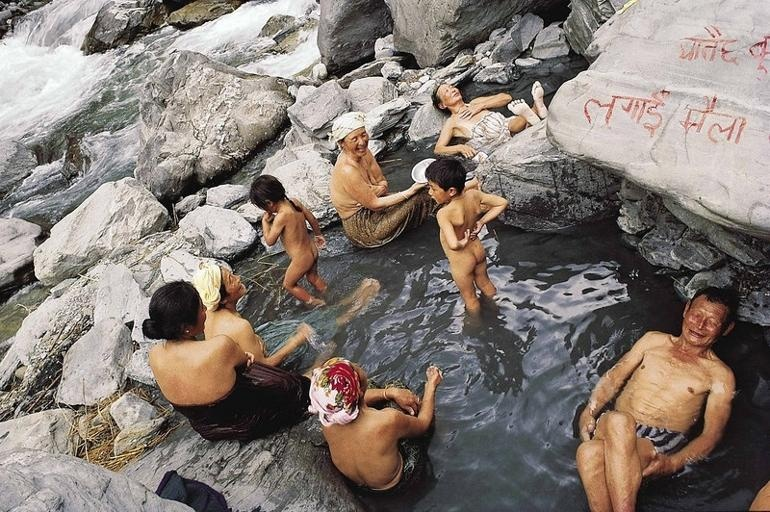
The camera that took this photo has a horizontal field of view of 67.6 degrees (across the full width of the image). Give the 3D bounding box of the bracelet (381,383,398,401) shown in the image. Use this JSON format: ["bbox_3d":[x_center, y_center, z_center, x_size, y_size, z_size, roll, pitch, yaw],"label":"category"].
[{"bbox_3d":[0.049,1.553,6.521,0.153,0.043,0.147,26,99,58],"label":"bracelet"}]

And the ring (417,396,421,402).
[{"bbox_3d":[0.378,1.664,6.637,0.016,0.068,0.064,-30,78,34],"label":"ring"}]

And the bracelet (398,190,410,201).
[{"bbox_3d":[0.283,-0.909,8.459,0.170,0.079,0.128,-1,15,31],"label":"bracelet"}]

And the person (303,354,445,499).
[{"bbox_3d":[-0.120,1.936,6.272,0.749,1.082,1.008,23,68,28],"label":"person"}]

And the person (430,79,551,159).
[{"bbox_3d":[1.595,-2.217,9.497,1.273,0.869,1.786,-39,30,-25],"label":"person"}]
